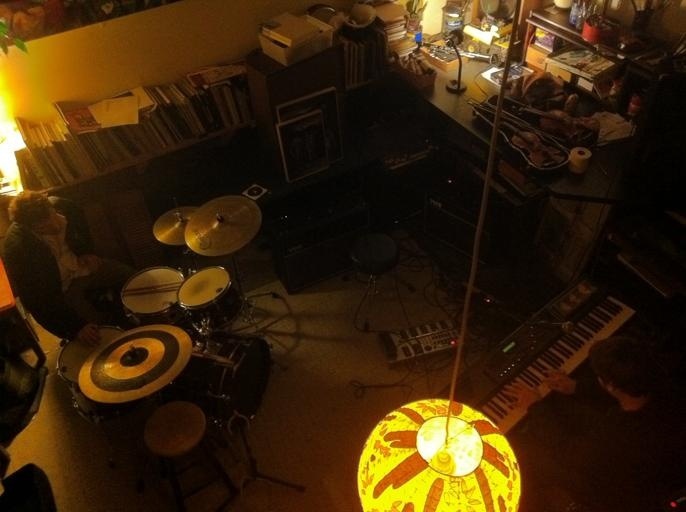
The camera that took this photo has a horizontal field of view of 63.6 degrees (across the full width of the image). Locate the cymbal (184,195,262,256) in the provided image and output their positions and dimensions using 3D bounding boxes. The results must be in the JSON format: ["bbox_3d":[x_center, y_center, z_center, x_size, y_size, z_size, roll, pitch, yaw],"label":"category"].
[{"bbox_3d":[-1.010,-0.262,4.638,0.682,0.702,0.161,-22,58,-36],"label":"cymbal"}]

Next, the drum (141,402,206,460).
[{"bbox_3d":[-1.241,1.342,4.166,0.455,0.257,0.406,2,43,10],"label":"drum"}]

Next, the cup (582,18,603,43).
[{"bbox_3d":[2.110,-1.893,4.754,0.152,0.140,0.175,-17,53,-9],"label":"cup"}]

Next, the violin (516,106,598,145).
[{"bbox_3d":[1.831,-1.116,4.708,0.549,0.114,0.271,33,77,26],"label":"violin"}]

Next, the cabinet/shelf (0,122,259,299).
[{"bbox_3d":[-2.064,-0.299,5.797,1.783,2.640,0.623,-23,87,-25],"label":"cabinet/shelf"}]

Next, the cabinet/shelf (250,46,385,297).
[{"bbox_3d":[-0.230,-0.867,5.212,1.356,2.316,0.676,-26,53,-18],"label":"cabinet/shelf"}]

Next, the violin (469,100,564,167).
[{"bbox_3d":[1.503,-1.052,4.738,0.338,0.139,0.936,-33,66,-3],"label":"violin"}]

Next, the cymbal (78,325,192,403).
[{"bbox_3d":[-1.559,0.723,4.122,0.785,0.196,0.858,-3,32,1],"label":"cymbal"}]

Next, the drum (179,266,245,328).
[{"bbox_3d":[-1.129,0.369,4.669,0.472,0.270,0.489,-4,43,4],"label":"drum"}]

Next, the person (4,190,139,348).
[{"bbox_3d":[-2.354,0.088,4.680,0.699,1.221,0.828,25,50,32],"label":"person"}]
